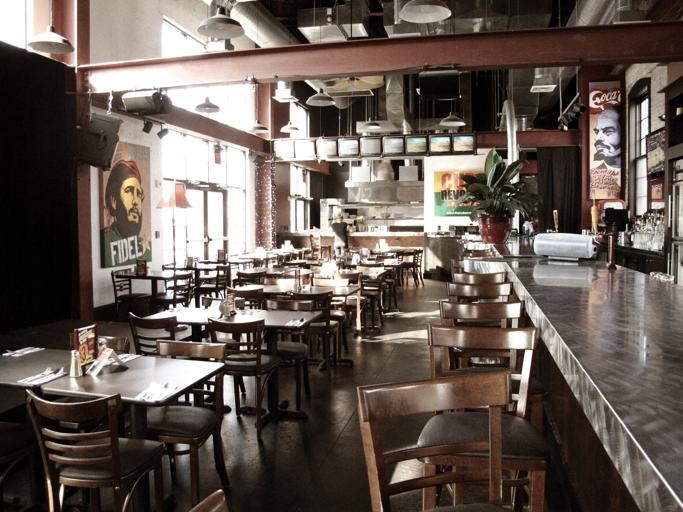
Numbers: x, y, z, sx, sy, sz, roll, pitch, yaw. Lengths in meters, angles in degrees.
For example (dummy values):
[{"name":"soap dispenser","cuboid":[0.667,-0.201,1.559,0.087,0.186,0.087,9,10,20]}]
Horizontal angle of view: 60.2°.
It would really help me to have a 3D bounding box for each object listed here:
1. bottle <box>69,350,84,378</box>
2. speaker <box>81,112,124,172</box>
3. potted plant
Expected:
[{"name":"bottle","cuboid":[-1.692,0.678,3.733,0.109,0.128,0.090,-2,2,26]},{"name":"speaker","cuboid":[-3.087,-1.447,7.741,0.503,0.697,0.218,16,-6,7]},{"name":"potted plant","cuboid":[1.528,-0.490,5.814,0.705,0.830,0.740,-1,-10,13]}]
